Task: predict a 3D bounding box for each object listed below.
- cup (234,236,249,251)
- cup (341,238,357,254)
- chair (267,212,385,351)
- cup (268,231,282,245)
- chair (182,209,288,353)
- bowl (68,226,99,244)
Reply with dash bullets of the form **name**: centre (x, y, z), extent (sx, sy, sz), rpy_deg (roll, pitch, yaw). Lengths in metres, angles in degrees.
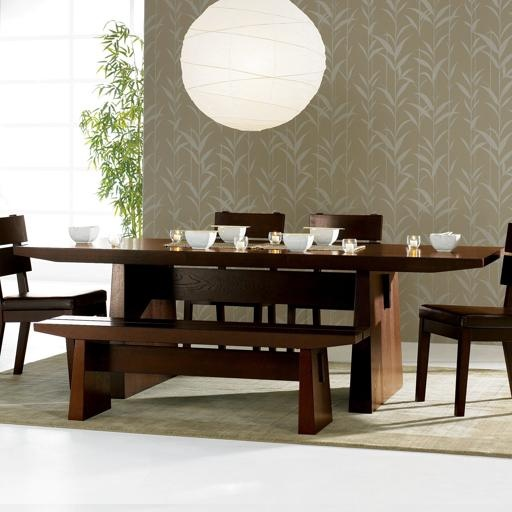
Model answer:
- **cup**: centre (-0.060, -0.051, 2.225), extent (0.054, 0.053, 0.058), rpy_deg (2, -2, 0)
- **cup**: centre (0.390, -0.039, 2.142), extent (0.052, 0.063, 0.057), rpy_deg (-1, -2, 17)
- **chair**: centre (0.505, 0.040, 3.023), extent (0.440, 0.486, 0.360), rpy_deg (2, 19, 20)
- **cup**: centre (0.096, -0.084, 2.517), extent (0.061, 0.065, 0.072), rpy_deg (-1, -6, 22)
- **chair**: centre (0.019, 0.103, 3.417), extent (0.581, 1.023, 0.672), rpy_deg (0, 0, 15)
- **bowl**: centre (-0.873, -0.092, 2.569), extent (0.101, 0.076, 0.100), rpy_deg (1, 0, 0)
